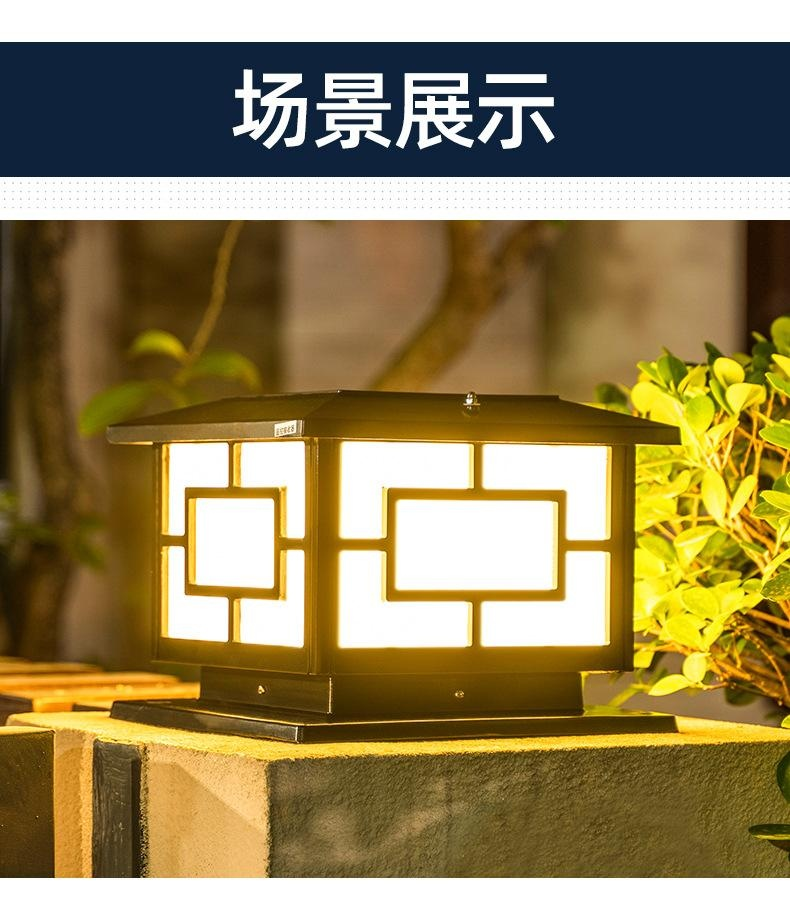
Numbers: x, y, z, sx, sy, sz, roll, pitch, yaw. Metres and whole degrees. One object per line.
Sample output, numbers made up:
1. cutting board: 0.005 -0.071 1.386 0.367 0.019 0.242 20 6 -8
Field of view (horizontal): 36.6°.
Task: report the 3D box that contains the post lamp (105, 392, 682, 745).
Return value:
1. post lamp: -0.100 0.185 2.077 1.151 0.523 1.034 3 -5 -15
